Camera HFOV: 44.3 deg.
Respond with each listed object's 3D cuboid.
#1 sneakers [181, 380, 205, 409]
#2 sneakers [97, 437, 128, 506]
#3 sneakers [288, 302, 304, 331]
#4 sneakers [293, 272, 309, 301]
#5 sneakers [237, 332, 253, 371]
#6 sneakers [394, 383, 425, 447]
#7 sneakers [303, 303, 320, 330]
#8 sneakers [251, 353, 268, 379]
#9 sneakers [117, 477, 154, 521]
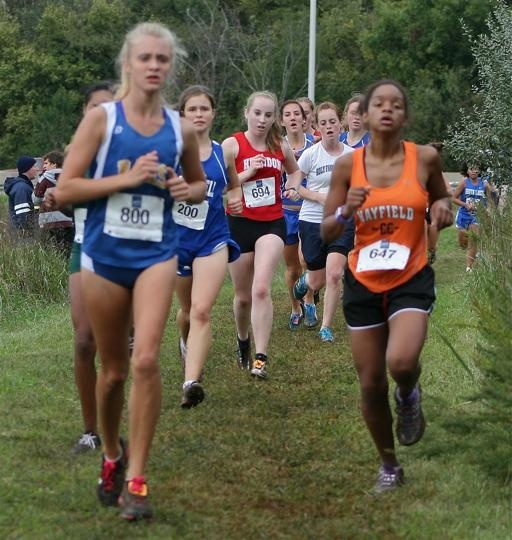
[{"bbox_3d":[-0.390,0.771,3.877,0.089,0.220,0.115,9,41,-12],"label":"sneakers"},{"bbox_3d":[-0.681,0.966,3.022,0.101,0.310,0.129,2,-2,2],"label":"sneakers"},{"bbox_3d":[0.439,0.542,7.086,0.107,0.353,0.141,3,-26,17],"label":"sneakers"},{"bbox_3d":[0.486,0.172,6.949,0.145,0.347,0.123,-22,50,-25],"label":"sneakers"},{"bbox_3d":[-0.097,0.724,5.542,0.092,0.308,0.115,-2,-2,4],"label":"sneakers"},{"bbox_3d":[0.782,0.754,3.210,0.112,0.370,0.150,-1,-5,20],"label":"sneakers"},{"bbox_3d":[0.625,0.520,7.090,0.103,0.319,0.136,-3,0,3],"label":"sneakers"},{"bbox_3d":[0.019,0.799,5.159,0.081,0.113,0.241,4,8,2],"label":"sneakers"},{"bbox_3d":[-0.547,1.032,2.897,0.165,0.159,0.339,5,-1,-18],"label":"sneakers"}]
